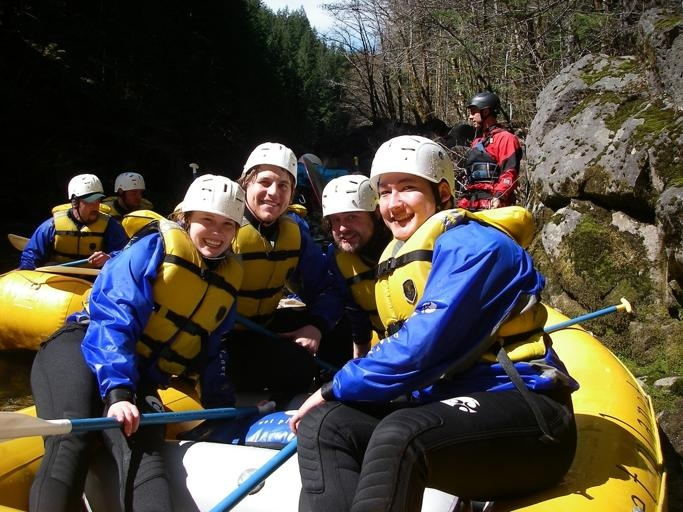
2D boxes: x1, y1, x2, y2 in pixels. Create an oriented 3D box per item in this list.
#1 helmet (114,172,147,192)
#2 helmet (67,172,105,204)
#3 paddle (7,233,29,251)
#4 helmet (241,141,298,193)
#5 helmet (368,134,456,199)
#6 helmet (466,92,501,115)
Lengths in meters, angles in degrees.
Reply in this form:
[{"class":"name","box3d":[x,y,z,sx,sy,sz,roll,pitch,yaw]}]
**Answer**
[{"class":"helmet","box3d":[-2.899,-1.006,9.722,0.387,0.322,0.301,5,1,12]},{"class":"helmet","box3d":[-2.812,-0.724,7.635,0.381,0.318,0.284,-17,9,7]},{"class":"paddle","box3d":[-3.443,-0.157,7.564,0.177,0.194,0.529,-3,11,-24]},{"class":"helmet","box3d":[-0.534,-0.668,5.210,0.406,0.317,0.252,1,10,-3]},{"class":"helmet","box3d":[0.414,-0.521,4.200,0.408,0.327,0.312,-12,8,-24]},{"class":"helmet","box3d":[1.542,-1.628,7.543,0.291,0.225,0.219,-4,16,-3]}]
